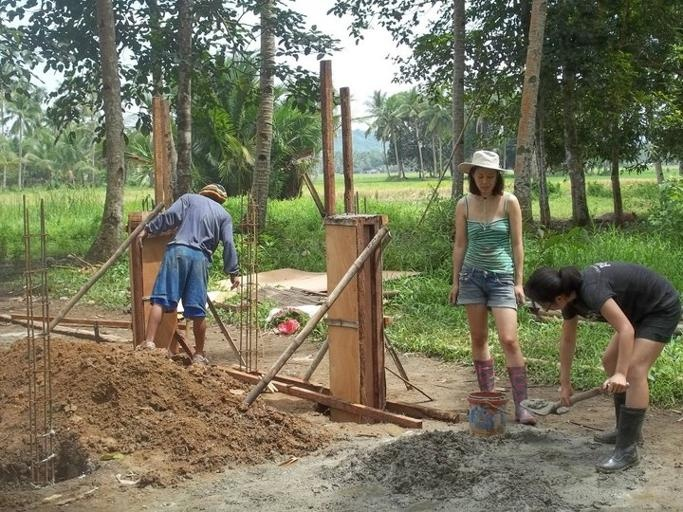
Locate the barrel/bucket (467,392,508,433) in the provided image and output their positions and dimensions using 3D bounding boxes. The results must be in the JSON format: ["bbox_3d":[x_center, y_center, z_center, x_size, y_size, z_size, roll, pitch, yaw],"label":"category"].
[{"bbox_3d":[1.473,1.582,7.879,0.348,0.302,0.393,-1,-5,9],"label":"barrel/bucket"}]

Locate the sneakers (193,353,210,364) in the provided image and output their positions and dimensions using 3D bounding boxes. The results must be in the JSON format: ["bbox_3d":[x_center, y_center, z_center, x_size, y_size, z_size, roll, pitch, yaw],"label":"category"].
[{"bbox_3d":[-1.695,1.244,9.386,0.227,0.094,0.096,28,-6,-30],"label":"sneakers"}]

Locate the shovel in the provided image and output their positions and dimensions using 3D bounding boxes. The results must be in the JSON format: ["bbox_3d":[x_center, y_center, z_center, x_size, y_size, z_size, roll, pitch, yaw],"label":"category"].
[{"bbox_3d":[2.224,1.457,7.784,0.789,0.175,0.371,-23,-8,33],"label":"shovel"}]

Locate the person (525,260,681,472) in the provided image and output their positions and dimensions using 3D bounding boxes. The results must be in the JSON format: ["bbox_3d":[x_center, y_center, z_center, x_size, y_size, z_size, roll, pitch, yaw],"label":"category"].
[{"bbox_3d":[2.581,1.051,7.551,1.267,1.967,0.631,0,3,24],"label":"person"}]

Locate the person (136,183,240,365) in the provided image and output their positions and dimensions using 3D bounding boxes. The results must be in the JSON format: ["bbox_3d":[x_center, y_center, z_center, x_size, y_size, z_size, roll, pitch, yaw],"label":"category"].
[{"bbox_3d":[-1.846,0.199,9.551,1.249,2.148,0.880,-2,3,-23],"label":"person"}]

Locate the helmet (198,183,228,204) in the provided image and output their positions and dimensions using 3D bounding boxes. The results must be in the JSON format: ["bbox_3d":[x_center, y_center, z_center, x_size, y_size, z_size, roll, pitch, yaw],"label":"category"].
[{"bbox_3d":[-1.632,-0.836,9.991,0.401,0.161,0.300,5,-7,22],"label":"helmet"}]

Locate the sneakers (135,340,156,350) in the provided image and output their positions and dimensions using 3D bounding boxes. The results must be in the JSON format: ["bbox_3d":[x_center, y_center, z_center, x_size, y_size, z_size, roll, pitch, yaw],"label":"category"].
[{"bbox_3d":[-2.247,1.038,8.992,0.229,0.111,0.131,3,-2,35],"label":"sneakers"}]
